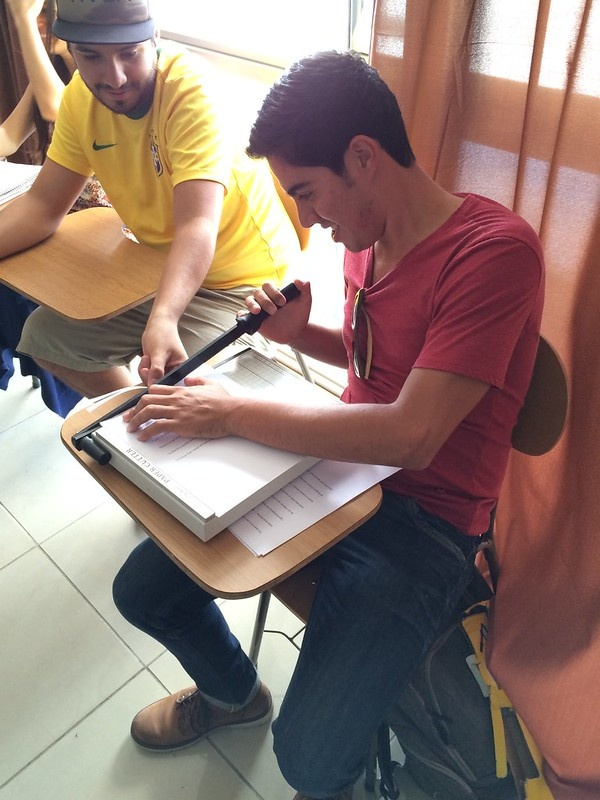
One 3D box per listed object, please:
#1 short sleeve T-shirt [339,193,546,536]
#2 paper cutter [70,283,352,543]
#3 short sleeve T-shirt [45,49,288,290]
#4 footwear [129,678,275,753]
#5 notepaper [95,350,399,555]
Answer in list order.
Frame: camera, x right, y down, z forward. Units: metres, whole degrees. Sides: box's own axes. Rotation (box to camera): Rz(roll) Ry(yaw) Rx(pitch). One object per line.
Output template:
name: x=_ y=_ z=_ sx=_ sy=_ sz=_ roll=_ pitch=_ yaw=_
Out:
short sleeve T-shirt: x=0.194 y=-0.052 z=0.897 sx=0.222 sy=0.431 sz=0.394 roll=-6 pitch=41 yaw=-7
paper cutter: x=-0.173 y=0.040 z=0.815 sx=0.278 sy=0.043 sz=0.312 roll=32 pitch=55 yaw=32
short sleeve T-shirt: x=-0.346 y=-0.553 z=1.622 sx=0.468 sy=0.563 sz=0.380 roll=17 pitch=37 yaw=24
footwear: x=-0.221 y=0.630 z=1.328 sx=0.317 sy=0.126 sz=0.117 roll=-13 pitch=50 yaw=-7
notepaper: x=-0.046 y=0.077 z=0.854 sx=0.278 sy=0.054 sz=0.279 roll=-32 pitch=54 yaw=-31
